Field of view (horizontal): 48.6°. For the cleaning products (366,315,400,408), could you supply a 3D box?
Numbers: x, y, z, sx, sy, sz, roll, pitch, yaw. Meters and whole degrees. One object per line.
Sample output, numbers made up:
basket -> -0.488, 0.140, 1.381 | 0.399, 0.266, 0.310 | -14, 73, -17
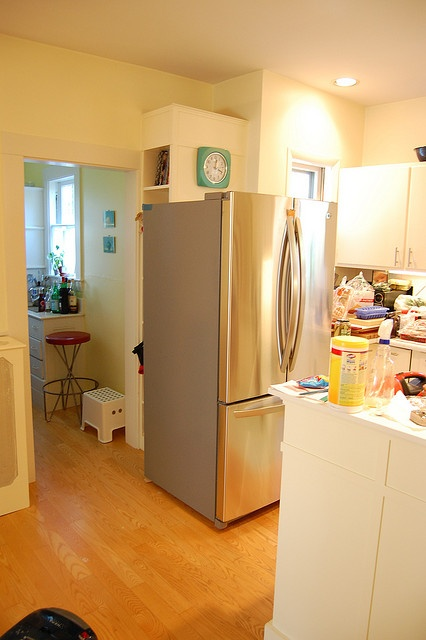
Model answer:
cleaning products -> 0.442, 0.110, 1.238 | 0.070, 0.231, 0.160 | 4, 7, 21

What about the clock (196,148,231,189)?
clock -> -0.007, -0.957, 2.950 | 0.038, 0.219, 0.239 | 11, 19, 39

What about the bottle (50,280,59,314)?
bottle -> -1.452, -0.198, 4.307 | 0.079, 0.251, 0.183 | -1, 7, -19

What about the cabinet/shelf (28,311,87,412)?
cabinet/shelf -> -1.393, 0.358, 4.206 | 0.463, 0.843, 0.361 | -1, 7, -20

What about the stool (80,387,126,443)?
stool -> -0.835, 0.713, 3.643 | 0.294, 0.299, 0.351 | -10, 17, -42

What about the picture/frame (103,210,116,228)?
picture/frame -> -0.835, -0.821, 3.800 | 0.018, 0.141, 0.138 | -4, 11, -40

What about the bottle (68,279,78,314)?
bottle -> -1.295, -0.223, 4.363 | 0.094, 0.303, 0.173 | 0, 6, -17

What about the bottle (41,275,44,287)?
bottle -> -1.800, -0.420, 4.965 | 0.028, 0.107, 0.173 | -1, 7, -21

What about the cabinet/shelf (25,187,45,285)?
cabinet/shelf -> -1.872, -0.871, 4.945 | 0.122, 1.032, 0.235 | 6, 8, 36

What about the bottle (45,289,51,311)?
bottle -> -1.531, -0.180, 4.356 | 0.052, 0.186, 0.229 | -1, 7, -20

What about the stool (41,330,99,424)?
stool -> -1.277, 0.504, 4.171 | 0.488, 0.728, 0.487 | 7, 8, 29
